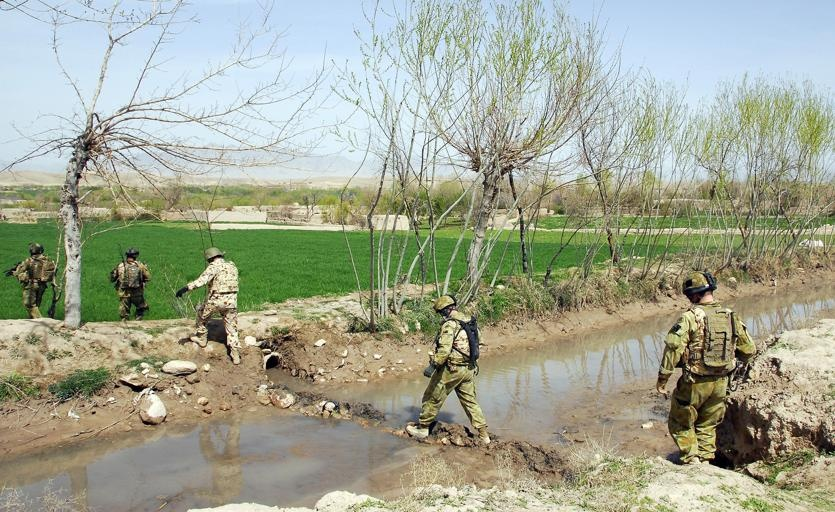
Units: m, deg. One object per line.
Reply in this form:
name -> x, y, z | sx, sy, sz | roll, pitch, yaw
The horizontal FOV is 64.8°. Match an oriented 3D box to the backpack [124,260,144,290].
backpack -> -8.759, 0.585, 20.335 | 0.537, 0.821, 0.212 | -2, 6, -26

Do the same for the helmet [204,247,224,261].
helmet -> -5.887, -0.042, 18.721 | 0.382, 0.250, 0.509 | -8, 9, -39

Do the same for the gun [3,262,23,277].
gun -> -14.664, 0.493, 23.822 | 1.206, 0.540, 0.323 | -18, -6, 39

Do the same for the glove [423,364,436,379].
glove -> 0.265, 2.855, 16.323 | 0.280, 0.131, 0.500 | 19, -20, -10

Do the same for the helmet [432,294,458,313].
helmet -> 0.571, 1.207, 16.643 | 0.597, 0.328, 0.429 | -3, 5, 32
